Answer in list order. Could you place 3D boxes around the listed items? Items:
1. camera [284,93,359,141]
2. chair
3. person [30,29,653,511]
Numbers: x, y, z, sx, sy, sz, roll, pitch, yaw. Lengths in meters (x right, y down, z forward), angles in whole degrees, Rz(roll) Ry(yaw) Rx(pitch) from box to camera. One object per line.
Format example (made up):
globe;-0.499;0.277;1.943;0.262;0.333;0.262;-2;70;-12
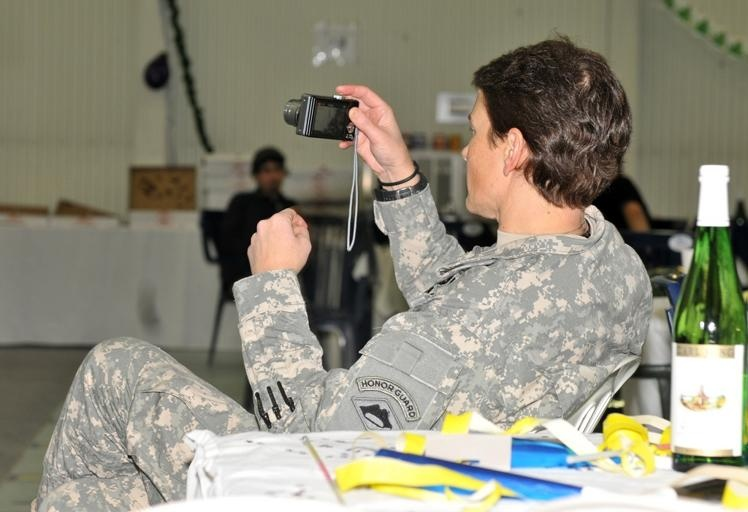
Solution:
camera;-0.118;-0.396;3.819;0.160;0.132;0.165;3;17;-17
chair;-0.650;0.114;7.123;0.637;1.232;0.646;-1;6;0
person;-0.010;0.050;3.661;1.468;1.206;0.610;-3;5;-19
